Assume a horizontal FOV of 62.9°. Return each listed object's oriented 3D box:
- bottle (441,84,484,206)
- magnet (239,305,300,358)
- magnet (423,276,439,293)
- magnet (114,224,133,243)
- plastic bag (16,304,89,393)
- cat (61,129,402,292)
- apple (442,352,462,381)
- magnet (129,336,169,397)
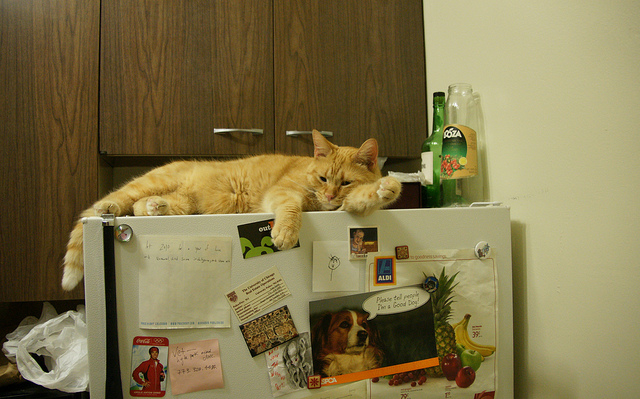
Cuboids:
[{"bbox_3d":[0.524,-0.206,1.941,0.148,0.444,0.186,-2,9,16],"label":"bottle"},{"bbox_3d":[-0.163,0.412,1.720,0.210,0.138,0.043,-24,1,-1],"label":"magnet"},{"bbox_3d":[0.362,0.274,1.709,0.049,0.049,0.011,12,-4,-9],"label":"magnet"},{"bbox_3d":[-0.615,0.103,1.647,0.054,0.055,0.015,-3,9,7],"label":"magnet"},{"bbox_3d":[-0.976,0.568,1.928,0.243,0.239,0.220,-9,10,-27],"label":"plastic bag"},{"bbox_3d":[-0.305,0.104,1.908,0.923,0.312,0.653,1,35,-1],"label":"cat"},{"bbox_3d":[0.439,0.553,1.731,0.051,0.058,0.052,20,-39,-18],"label":"apple"},{"bbox_3d":[-0.536,0.523,1.650,0.127,0.186,0.030,-4,9,2],"label":"magnet"}]
